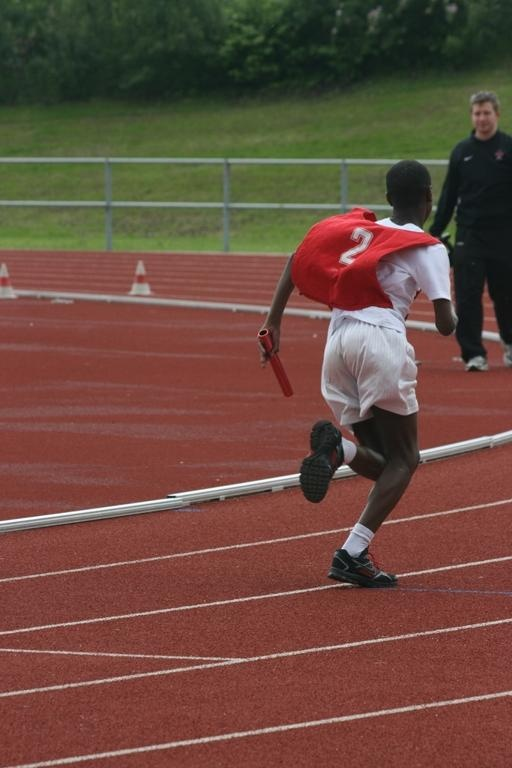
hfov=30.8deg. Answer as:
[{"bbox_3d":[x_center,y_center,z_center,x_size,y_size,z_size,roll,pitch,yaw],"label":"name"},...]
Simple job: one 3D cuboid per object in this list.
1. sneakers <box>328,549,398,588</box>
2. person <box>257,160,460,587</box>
[{"bbox_3d":[0.342,0.618,3.103,0.272,0.142,0.096,4,2,-14],"label":"sneakers"},{"bbox_3d":[0.366,-0.025,3.071,0.541,1.413,0.678,1,12,1],"label":"person"}]
